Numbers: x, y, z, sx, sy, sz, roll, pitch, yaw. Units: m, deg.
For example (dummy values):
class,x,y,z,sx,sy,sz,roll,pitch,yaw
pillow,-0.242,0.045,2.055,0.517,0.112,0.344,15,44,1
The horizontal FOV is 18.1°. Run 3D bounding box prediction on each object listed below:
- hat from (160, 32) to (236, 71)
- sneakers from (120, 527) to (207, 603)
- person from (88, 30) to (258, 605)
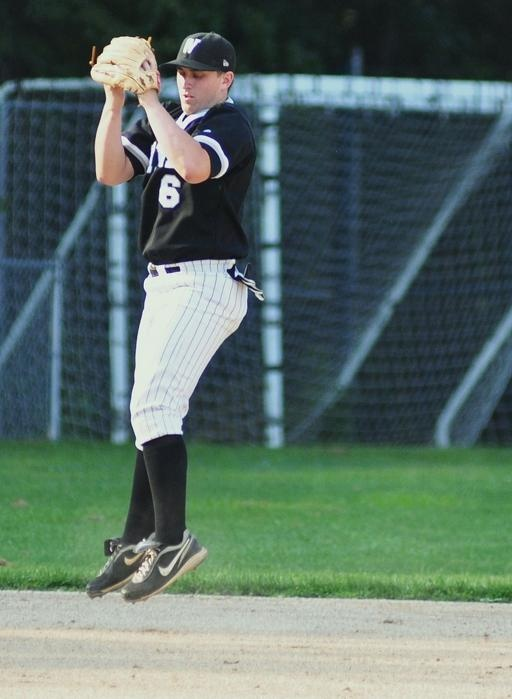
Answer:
class,x,y,z,sx,sy,sz,roll,pitch,yaw
hat,-0.205,-1.074,5.884,0.221,0.121,0.139,5,8,-31
sneakers,-0.320,0.778,5.746,0.313,0.234,0.129,-2,7,-10
person,-0.294,-0.102,5.852,0.606,2.088,0.611,1,7,9
